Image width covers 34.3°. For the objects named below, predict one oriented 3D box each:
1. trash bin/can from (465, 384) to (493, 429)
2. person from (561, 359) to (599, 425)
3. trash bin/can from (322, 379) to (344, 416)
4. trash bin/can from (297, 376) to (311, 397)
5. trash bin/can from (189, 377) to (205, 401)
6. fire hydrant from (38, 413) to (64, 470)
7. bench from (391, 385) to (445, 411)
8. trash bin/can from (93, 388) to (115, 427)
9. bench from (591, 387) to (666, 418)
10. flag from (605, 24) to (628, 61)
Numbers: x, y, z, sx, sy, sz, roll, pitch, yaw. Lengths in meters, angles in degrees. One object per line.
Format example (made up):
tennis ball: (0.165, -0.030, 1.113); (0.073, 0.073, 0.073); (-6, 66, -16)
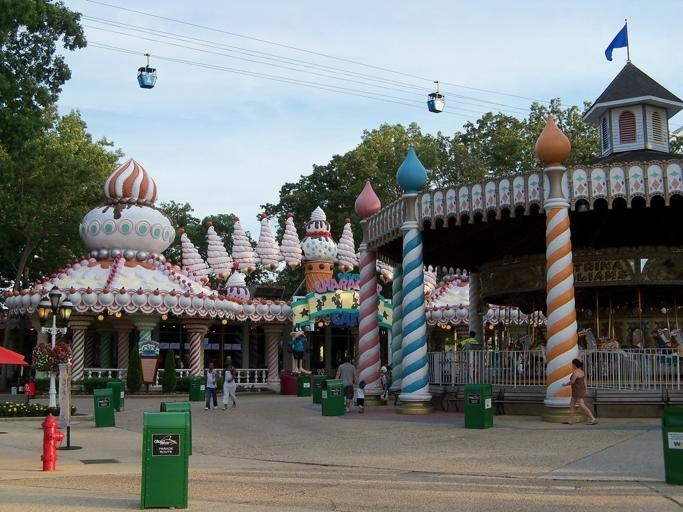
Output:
trash bin/can: (3.949, 4.311, 31.866); (0.890, 1.243, 0.920); (1, -5, -11)
person: (7.094, 3.968, 32.300); (0.878, 1.930, 1.310); (-8, -13, 41)
trash bin/can: (-0.303, 4.676, 36.184); (0.858, 1.127, 0.859); (-5, -9, 30)
trash bin/can: (-1.591, 5.507, 46.548); (0.500, 0.872, 0.626); (2, -10, -9)
trash bin/can: (-5.700, 5.244, 43.379); (0.594, 0.949, 0.620); (2, -9, -9)
fire hydrant: (-7.127, 4.572, 26.954); (0.469, 1.364, 1.008); (3, -10, -15)
bench: (2.624, 4.637, 35.659); (1.179, 0.644, 0.877); (4, -6, -25)
trash bin/can: (-7.368, 4.722, 34.188); (0.683, 1.205, 0.475); (7, -11, -35)
bench: (8.644, 4.437, 33.056); (2.177, 0.821, 0.474); (-2, -10, 15)
flag: (9.999, -7.731, 39.538); (0.795, 0.206, 2.358); (-1, -28, 3)
